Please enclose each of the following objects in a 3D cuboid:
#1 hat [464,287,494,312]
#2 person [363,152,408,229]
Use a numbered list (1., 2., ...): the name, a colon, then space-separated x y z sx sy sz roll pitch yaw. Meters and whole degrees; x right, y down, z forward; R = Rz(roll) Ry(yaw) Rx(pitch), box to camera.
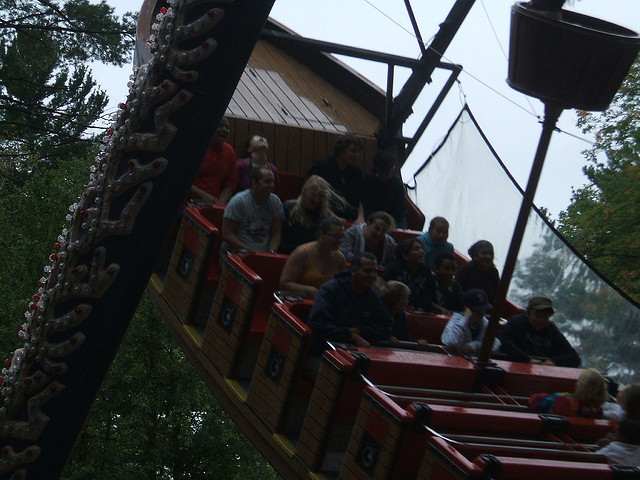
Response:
1. hat: 1.001 0.375 3.811 0.120 0.103 0.160 -8 16 -40
2. person: 0.536 -0.495 6.156 0.391 0.827 0.737 0 -4 -3
